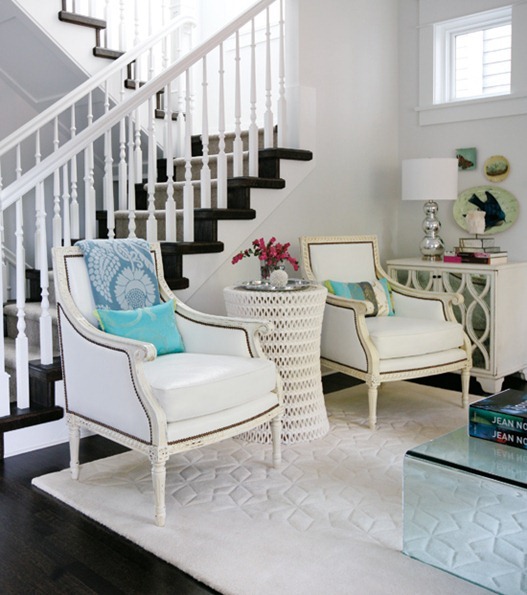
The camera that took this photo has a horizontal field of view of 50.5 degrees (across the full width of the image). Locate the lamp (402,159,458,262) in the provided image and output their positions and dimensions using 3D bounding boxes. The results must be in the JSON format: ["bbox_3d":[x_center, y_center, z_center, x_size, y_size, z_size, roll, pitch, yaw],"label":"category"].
[{"bbox_3d":[1.108,-0.553,3.681,0.387,0.627,0.388,-3,2,-45],"label":"lamp"}]
